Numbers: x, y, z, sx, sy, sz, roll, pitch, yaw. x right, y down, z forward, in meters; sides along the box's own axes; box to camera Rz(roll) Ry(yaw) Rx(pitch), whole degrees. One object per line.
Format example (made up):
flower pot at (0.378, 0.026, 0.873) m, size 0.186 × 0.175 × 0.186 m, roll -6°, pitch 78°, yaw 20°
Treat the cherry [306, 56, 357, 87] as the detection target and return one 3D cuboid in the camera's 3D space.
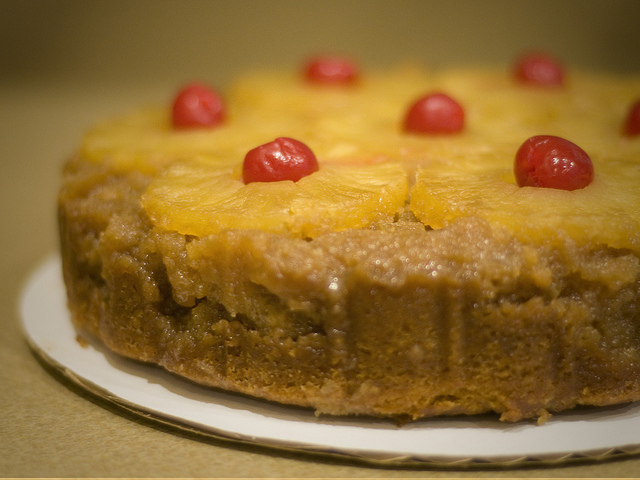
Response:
cherry at (0.016, -0.536, 2.598) m, size 0.189 × 0.094 × 0.084 m, roll -19°, pitch 36°, yaw -27°
